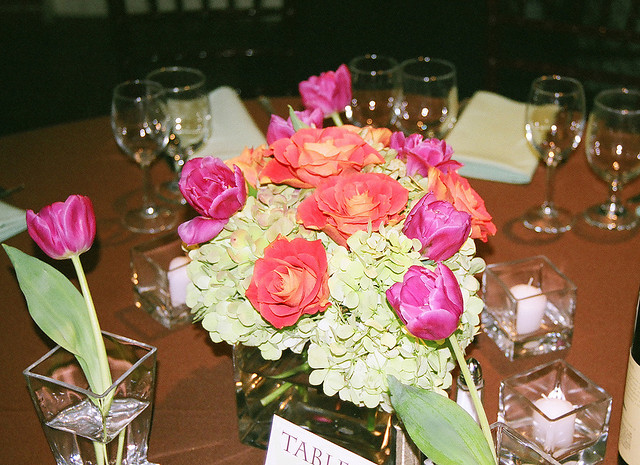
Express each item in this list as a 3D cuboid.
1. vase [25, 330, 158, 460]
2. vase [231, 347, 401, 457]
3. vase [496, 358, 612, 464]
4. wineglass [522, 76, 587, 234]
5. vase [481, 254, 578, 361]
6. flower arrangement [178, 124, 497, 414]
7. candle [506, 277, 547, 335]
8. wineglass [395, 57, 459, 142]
[{"bbox_3d":[-0.315,0.230,0.743,0.116,0.182,0.130,10,27,36],"label":"vase"},{"bbox_3d":[-0.032,0.243,0.757,0.168,0.122,0.184,4,-9,11],"label":"vase"},{"bbox_3d":[0.348,0.254,0.831,0.139,0.140,0.139,-12,21,-35],"label":"vase"},{"bbox_3d":[0.549,-0.209,1.274,0.140,0.271,0.366,10,32,20],"label":"wineglass"},{"bbox_3d":[0.384,0.136,1.022,0.171,0.149,0.184,-1,10,21],"label":"vase"},{"bbox_3d":[0.047,0.040,0.818,0.343,0.431,0.374,-7,30,4],"label":"flower arrangement"},{"bbox_3d":[0.371,0.134,1.006,0.070,0.093,0.075,-3,13,-12],"label":"candle"},{"bbox_3d":[0.278,-0.354,1.405,0.172,0.206,0.190,6,26,12],"label":"wineglass"}]
